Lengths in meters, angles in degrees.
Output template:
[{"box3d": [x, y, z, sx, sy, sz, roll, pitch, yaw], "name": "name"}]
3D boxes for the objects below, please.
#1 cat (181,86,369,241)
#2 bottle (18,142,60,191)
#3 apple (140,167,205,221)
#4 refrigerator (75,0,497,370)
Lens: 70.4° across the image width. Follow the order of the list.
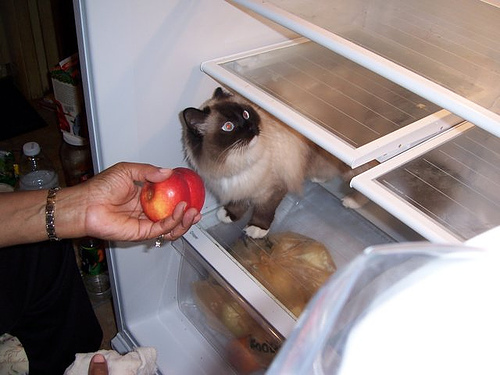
[{"box3d": [0.100, -0.094, 1.235, 0.650, 0.408, 0.290, -14, 15, -30], "name": "cat"}, {"box3d": [-0.967, -0.089, 1.619, 0.141, 0.198, 0.139, 3, 52, -4], "name": "bottle"}, {"box3d": [-0.168, 0.018, 0.859, 0.110, 0.107, 0.110, -16, 13, -16], "name": "apple"}, {"box3d": [0.069, -0.044, 0.795, 0.579, 0.695, 0.723, -29, 50, -36], "name": "refrigerator"}]
